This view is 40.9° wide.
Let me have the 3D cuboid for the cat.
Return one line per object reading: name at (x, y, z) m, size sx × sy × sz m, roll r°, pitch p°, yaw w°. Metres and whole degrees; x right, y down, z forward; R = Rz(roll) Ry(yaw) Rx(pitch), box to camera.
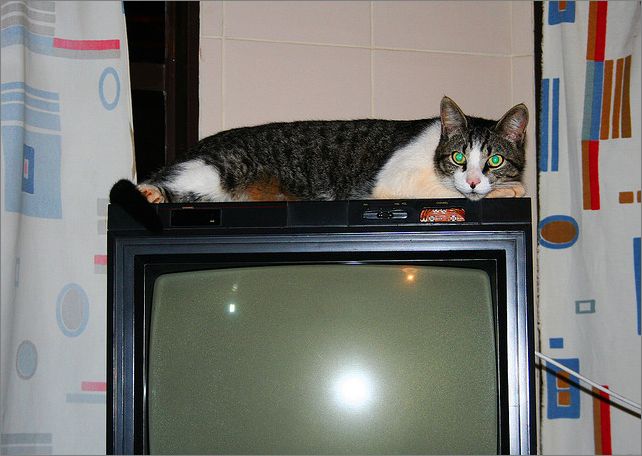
cat at (-0.009, -0.207, 2.595) m, size 1.189 × 0.416 × 0.484 m, roll -4°, pitch 24°, yaw -2°
